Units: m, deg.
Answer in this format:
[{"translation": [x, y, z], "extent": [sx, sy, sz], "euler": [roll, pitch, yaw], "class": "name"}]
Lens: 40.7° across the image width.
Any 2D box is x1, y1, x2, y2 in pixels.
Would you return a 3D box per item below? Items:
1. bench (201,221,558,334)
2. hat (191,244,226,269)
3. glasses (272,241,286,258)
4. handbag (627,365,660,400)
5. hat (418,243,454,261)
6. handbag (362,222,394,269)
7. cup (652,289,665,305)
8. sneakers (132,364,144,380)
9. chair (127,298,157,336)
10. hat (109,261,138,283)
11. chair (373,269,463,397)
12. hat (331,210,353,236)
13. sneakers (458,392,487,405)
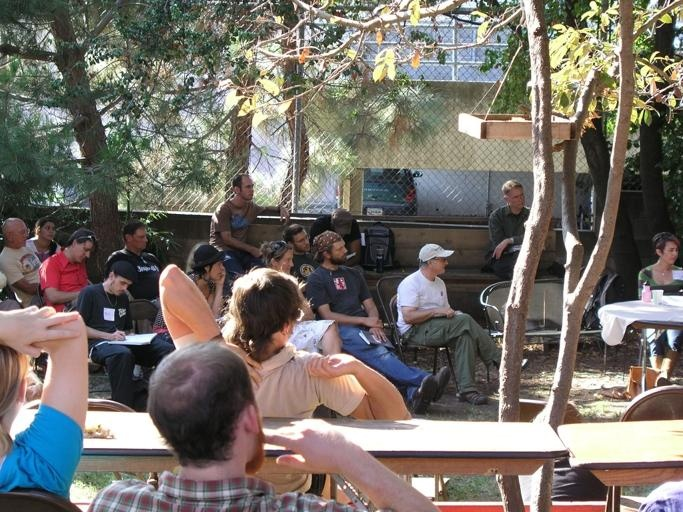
[{"translation": [0.587, 0.244, 11.074], "extent": [2.633, 1.094, 0.819], "euler": [1, 17, -7], "class": "bench"}, {"translation": [-1.248, 0.007, 8.720], "extent": [0.225, 0.092, 0.190], "euler": [-30, 12, -31], "class": "hat"}, {"translation": [-0.555, -0.070, 8.291], "extent": [0.120, 0.040, 0.124], "euler": [19, -19, -14], "class": "glasses"}, {"translation": [2.585, 1.084, 7.952], "extent": [0.267, 0.389, 0.270], "euler": [1, -10, -3], "class": "handbag"}, {"translation": [0.893, -0.042, 8.683], "extent": [0.265, 0.140, 0.182], "euler": [-7, 10, 1], "class": "hat"}, {"translation": [0.449, -0.103, 11.026], "extent": [0.376, 0.611, 0.308], "euler": [1, -14, 2], "class": "handbag"}, {"translation": [2.865, 0.382, 8.304], "extent": [0.103, 0.119, 0.111], "euler": [-1, 2, 0], "class": "cup"}, {"translation": [-1.751, 1.000, 7.897], "extent": [0.114, 0.182, 0.089], "euler": [6, -12, -39], "class": "sneakers"}, {"translation": [-1.816, 0.547, 8.388], "extent": [0.219, 0.395, 0.265], "euler": [3, -8, -17], "class": "chair"}, {"translation": [-1.869, 0.099, 7.835], "extent": [0.160, 0.123, 0.205], "euler": [18, 9, -39], "class": "hat"}, {"translation": [0.730, 0.635, 9.567], "extent": [0.698, 1.056, 0.668], "euler": [-1, 20, 33], "class": "chair"}, {"translation": [0.009, -0.402, 10.401], "extent": [0.194, 0.298, 0.154], "euler": [-8, -17, -18], "class": "hat"}, {"translation": [1.201, 1.302, 8.402], "extent": [0.255, 0.120, 0.106], "euler": [-3, 3, 41], "class": "sneakers"}]
